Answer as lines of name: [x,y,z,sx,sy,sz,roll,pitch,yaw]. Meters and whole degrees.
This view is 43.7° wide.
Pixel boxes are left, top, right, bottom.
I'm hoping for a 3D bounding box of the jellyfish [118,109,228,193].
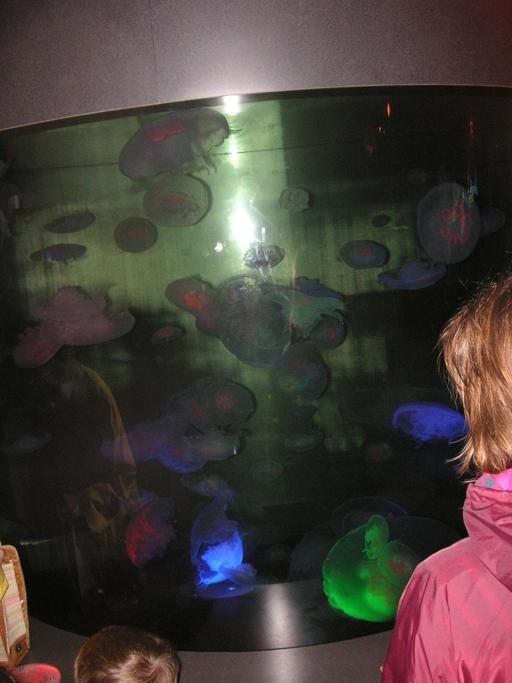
jellyfish: [-0.157,-0.372,1.250,0.185,0.134,0.102,-8,16,-28]
